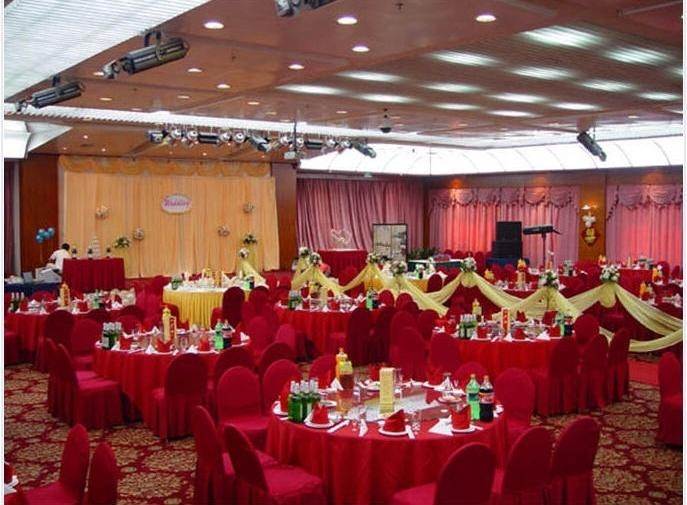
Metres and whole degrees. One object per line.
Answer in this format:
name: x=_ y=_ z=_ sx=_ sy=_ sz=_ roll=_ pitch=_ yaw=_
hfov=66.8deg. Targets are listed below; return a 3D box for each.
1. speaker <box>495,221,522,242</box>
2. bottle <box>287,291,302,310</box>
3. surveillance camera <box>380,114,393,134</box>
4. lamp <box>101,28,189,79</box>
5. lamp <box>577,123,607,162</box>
speaker: x=5.656 y=-0.689 z=17.958 sx=0.814 sy=0.676 sz=0.398 roll=0 pitch=2 yaw=4
bottle: x=-0.830 y=0.816 z=8.847 sx=0.266 sy=0.371 sz=0.271 roll=0 pitch=1 yaw=0
surveillance camera: x=1.030 y=-3.011 z=12.409 sx=0.264 sy=0.250 sz=0.261 roll=-6 pitch=11 yaw=-35
lamp: x=-2.319 y=-2.373 z=6.267 sx=1.127 sy=0.496 sz=0.348 roll=-9 pitch=-2 yaw=9
lamp: x=6.799 y=-2.997 z=14.427 sx=0.624 sy=1.140 sz=3.160 roll=1 pitch=1 yaw=24
